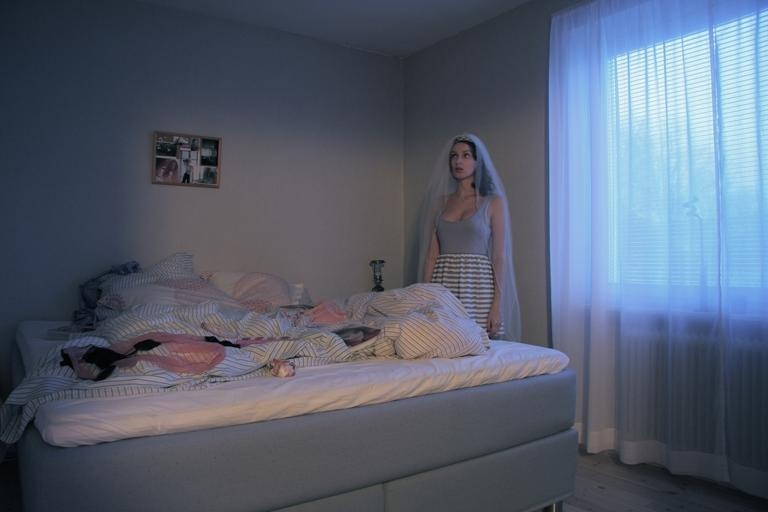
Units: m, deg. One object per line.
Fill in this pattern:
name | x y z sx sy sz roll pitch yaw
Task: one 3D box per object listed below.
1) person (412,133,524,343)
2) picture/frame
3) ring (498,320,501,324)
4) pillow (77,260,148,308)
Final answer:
person | 0.632 -0.131 4.139 0.778 1.529 0.456 2 3 12
picture/frame | -1.623 -0.799 4.581 0.527 0.428 0.008 4 4 -9
ring | 0.838 0.476 3.997 0.021 0.020 0.005 2 -1 -25
pillow | -2.070 0.173 4.261 0.419 0.128 0.280 -23 9 -8
